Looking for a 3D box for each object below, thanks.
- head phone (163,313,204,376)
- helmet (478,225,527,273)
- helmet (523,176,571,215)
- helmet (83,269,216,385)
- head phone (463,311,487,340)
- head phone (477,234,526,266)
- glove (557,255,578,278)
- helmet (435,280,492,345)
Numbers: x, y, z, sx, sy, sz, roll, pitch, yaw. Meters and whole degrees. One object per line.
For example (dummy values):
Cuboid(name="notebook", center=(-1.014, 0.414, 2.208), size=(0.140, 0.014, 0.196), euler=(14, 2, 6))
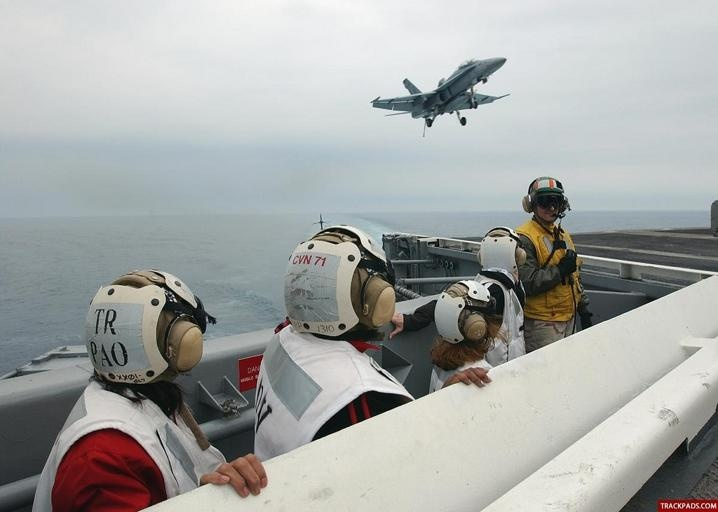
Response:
Cuboid(name="head phone", center=(-0.729, 0.374, 2.241), size=(0.151, 0.180, 0.211), euler=(5, 10, -40))
Cuboid(name="helmet", center=(1.049, -0.015, 3.991), size=(0.375, 0.415, 0.427), euler=(2, 5, 30))
Cuboid(name="helmet", center=(1.555, -0.504, 4.403), size=(0.363, 0.311, 0.351), euler=(4, 5, 3))
Cuboid(name="helmet", center=(-0.881, 0.285, 2.344), size=(0.505, 0.461, 0.561), euler=(8, 8, 34))
Cuboid(name="head phone", center=(0.670, 0.411, 3.118), size=(0.120, 0.154, 0.138), euler=(14, 26, 9))
Cuboid(name="head phone", center=(1.006, -0.030, 3.791), size=(0.238, 0.221, 0.248), euler=(3, 10, 22))
Cuboid(name="glove", center=(1.673, 0.098, 4.257), size=(0.137, 0.188, 0.069), euler=(3, -6, -12))
Cuboid(name="helmet", center=(0.624, 0.319, 3.245), size=(0.377, 0.372, 0.381), euler=(-8, 11, -37))
